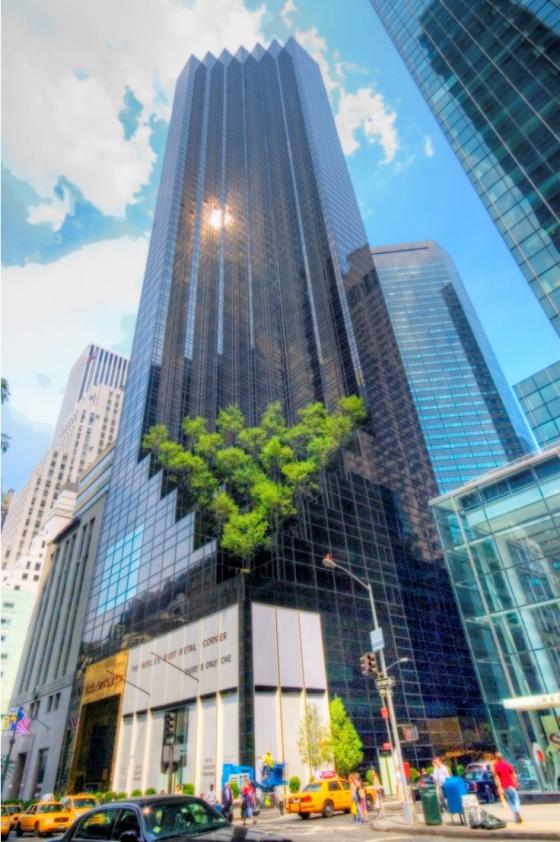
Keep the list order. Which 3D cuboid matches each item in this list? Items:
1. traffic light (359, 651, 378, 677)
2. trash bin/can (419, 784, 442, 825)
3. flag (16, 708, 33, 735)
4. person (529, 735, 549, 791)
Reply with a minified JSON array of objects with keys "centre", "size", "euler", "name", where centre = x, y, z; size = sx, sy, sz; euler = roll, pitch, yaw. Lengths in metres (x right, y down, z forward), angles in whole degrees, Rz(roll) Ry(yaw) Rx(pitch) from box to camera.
[{"centre":[3.278,9.092,17.616],"size":[0.527,0.773,1.710],"euler":[-12,-32,8],"name":"traffic light"},{"centre":[4.167,10.720,13.105],"size":[0.494,0.875,1.328],"euler":[-12,-32,8],"name":"trash bin/can"},{"centre":[-28.272,32.850,51.434],"size":[1.438,2.484,3.815],"euler":[9,-36,-25],"name":"flag"},{"centre":[10.465,13.875,18.877],"size":[0.542,1.279,1.678],"euler":[-18,-33,17],"name":"person"}]
